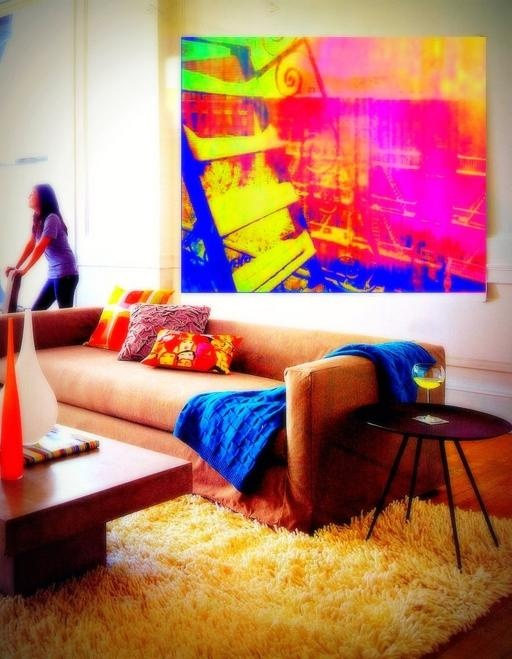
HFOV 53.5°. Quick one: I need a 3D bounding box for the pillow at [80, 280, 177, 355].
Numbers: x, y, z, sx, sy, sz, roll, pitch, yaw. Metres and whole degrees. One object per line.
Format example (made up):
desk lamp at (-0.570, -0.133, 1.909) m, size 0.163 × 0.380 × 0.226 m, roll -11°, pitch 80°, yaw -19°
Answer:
pillow at (-0.794, -0.066, 3.111) m, size 0.408 × 0.446 × 0.135 m, roll 7°, pitch -16°, yaw 45°
